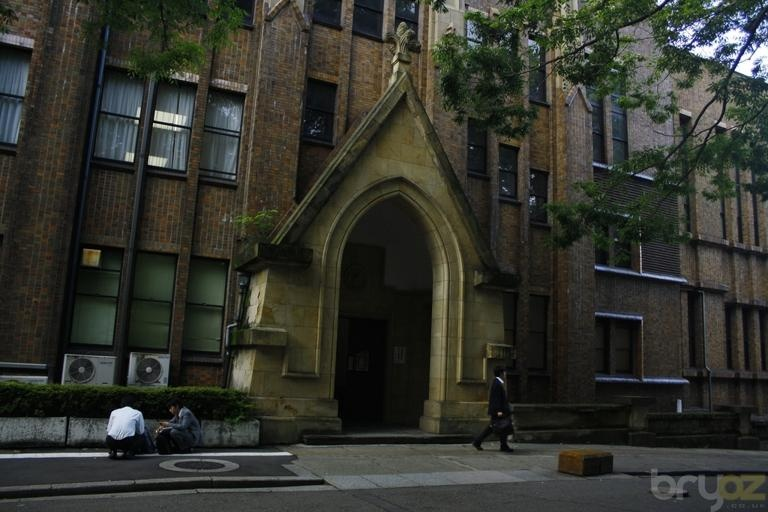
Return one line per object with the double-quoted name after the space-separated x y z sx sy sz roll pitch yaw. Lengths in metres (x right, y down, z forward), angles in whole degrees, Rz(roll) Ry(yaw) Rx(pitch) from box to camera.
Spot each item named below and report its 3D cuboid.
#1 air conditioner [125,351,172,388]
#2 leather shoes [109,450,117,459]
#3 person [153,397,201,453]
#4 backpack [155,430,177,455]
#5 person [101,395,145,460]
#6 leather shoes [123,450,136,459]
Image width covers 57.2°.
-7.382 3.620 22.525 1.258 1.093 0.716 4 0 -11 "air conditioner"
-7.014 5.187 18.307 0.217 0.212 0.166 2 -14 2 "leather shoes"
-5.678 4.775 19.531 1.213 1.456 1.143 -6 -10 5 "person"
-5.843 5.074 19.167 0.624 0.638 0.281 7 -14 -16 "backpack"
-6.736 4.557 18.605 0.954 1.595 0.547 8 -15 -20 "person"
-6.601 5.210 18.362 0.212 0.209 0.067 12 -58 -4 "leather shoes"
